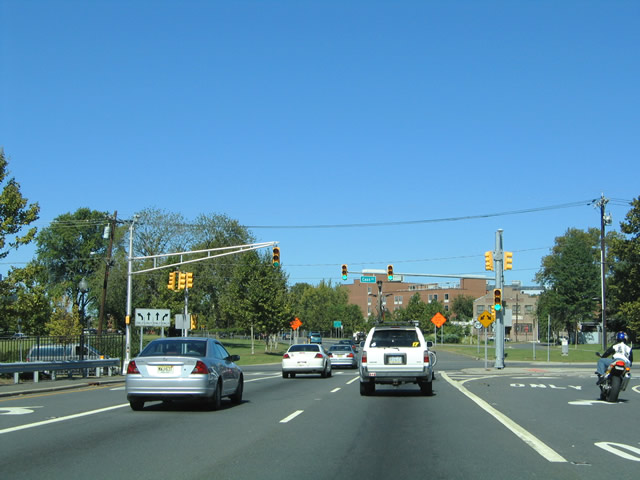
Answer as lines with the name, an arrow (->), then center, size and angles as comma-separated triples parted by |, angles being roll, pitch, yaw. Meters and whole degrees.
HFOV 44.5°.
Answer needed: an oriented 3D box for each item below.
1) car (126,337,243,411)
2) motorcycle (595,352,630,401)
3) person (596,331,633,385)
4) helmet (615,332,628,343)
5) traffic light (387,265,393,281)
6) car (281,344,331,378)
car -> -3.591, 3.564, 20.931 | 3.183, 1.938, 2.034 | 6, -11, -31
motorcycle -> 9.009, 4.263, 23.898 | 0.615, 1.401, 1.313 | 0, -9, 0
person -> 9.196, 3.629, 24.346 | 0.815, 1.266, 1.934 | 4, -4, 17
helmet -> 9.293, 3.022, 24.032 | 0.291, 0.507, 0.440 | 3, -1, 16
traffic light -> 3.936, 1.896, 44.045 | 0.244, 1.156, 0.188 | 0, 29, 1
car -> -0.618, 5.589, 35.737 | 1.977, 1.608, 2.275 | -1, -10, 6
